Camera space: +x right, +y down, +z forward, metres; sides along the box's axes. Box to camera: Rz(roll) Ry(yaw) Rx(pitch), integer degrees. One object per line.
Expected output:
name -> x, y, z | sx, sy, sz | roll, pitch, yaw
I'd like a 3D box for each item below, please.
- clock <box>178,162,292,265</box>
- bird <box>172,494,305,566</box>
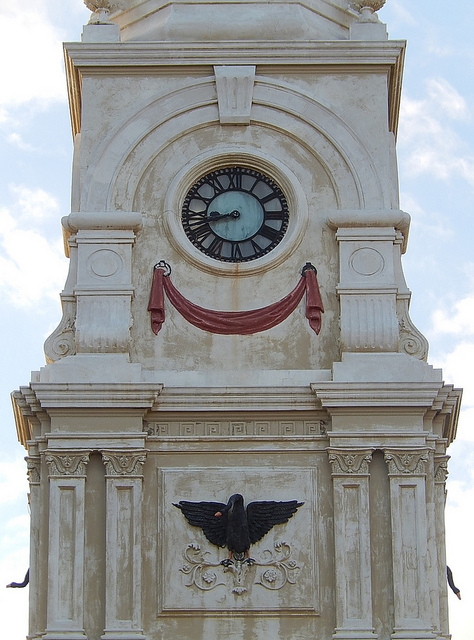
clock -> -0.017, -1.561, 36.163 | 1.368, 1.709, 0.094 | -3, -27, 2
bird -> -0.023, 3.114, 33.899 | 1.785, 1.239, 0.553 | -2, -31, -1
